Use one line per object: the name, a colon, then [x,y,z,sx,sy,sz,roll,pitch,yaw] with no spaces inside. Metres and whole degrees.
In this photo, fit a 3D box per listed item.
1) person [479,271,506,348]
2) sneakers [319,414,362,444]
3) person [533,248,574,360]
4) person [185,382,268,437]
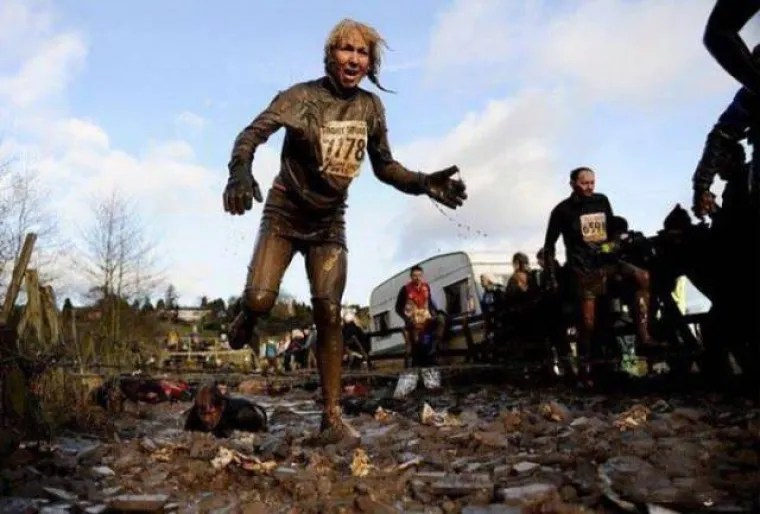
person: [2.049,1.028,10.656,0.351,0.463,1.115,12,27,9]
sneakers: [-0.362,1.486,4.940,0.237,0.183,0.259,5,-7,-15]
person: [2.677,0.788,8.982,0.320,1.786,0.359,-8,6,10]
person: [-1.608,1.685,6.198,0.559,0.420,0.816,-7,-20,16]
